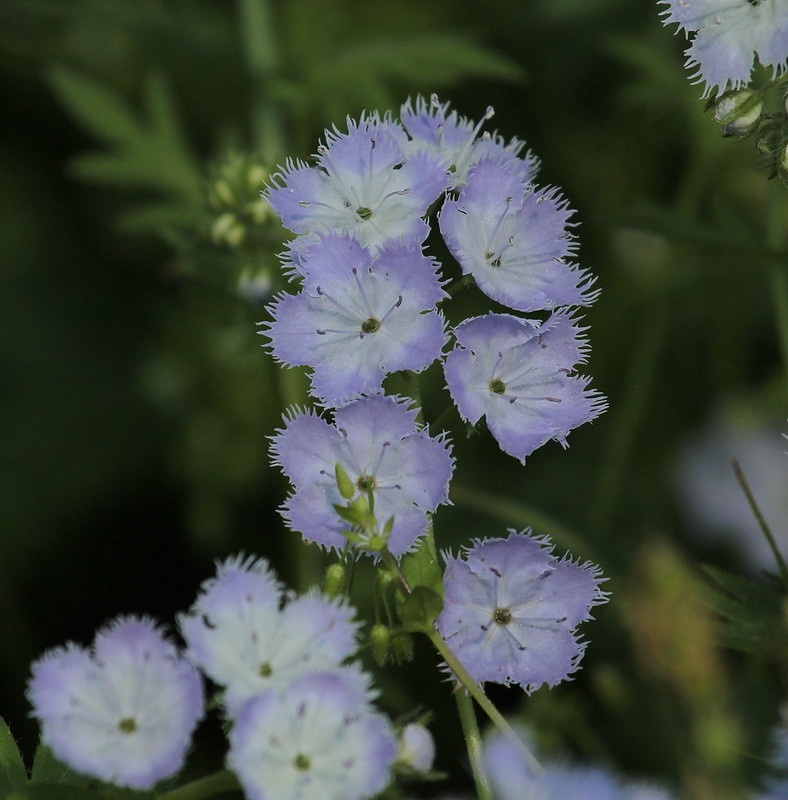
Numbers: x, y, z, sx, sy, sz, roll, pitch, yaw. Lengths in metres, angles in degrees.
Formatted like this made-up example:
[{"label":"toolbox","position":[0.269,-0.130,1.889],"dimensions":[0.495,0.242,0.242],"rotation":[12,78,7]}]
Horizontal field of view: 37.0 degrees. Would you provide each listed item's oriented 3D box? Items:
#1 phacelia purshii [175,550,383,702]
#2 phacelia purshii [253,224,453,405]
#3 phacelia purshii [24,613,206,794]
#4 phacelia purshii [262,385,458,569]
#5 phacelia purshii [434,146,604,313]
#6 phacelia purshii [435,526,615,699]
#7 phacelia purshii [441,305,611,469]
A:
[{"label":"phacelia purshii","position":[-0.196,0.379,1.857],"dimensions":[0.317,0.137,0.317],"rotation":[5,18,-44]},{"label":"phacelia purshii","position":[-0.035,-0.185,2.065],"dimensions":[0.251,0.265,0.120],"rotation":[-13,56,21]},{"label":"phacelia purshii","position":[-0.421,0.495,1.862],"dimensions":[0.302,0.102,0.290],"rotation":[5,29,-18]},{"label":"phacelia purshii","position":[-0.064,0.130,2.019],"dimensions":[0.322,0.221,0.220],"rotation":[3,53,3]},{"label":"phacelia purshii","position":[0.203,-0.279,2.072],"dimensions":[0.254,0.181,0.239],"rotation":[-9,53,-6]},{"label":"phacelia purshii","position":[0.216,0.358,2.106],"dimensions":[0.275,0.294,0.093],"rotation":[13,43,24]},{"label":"phacelia purshii","position":[0.233,-0.035,2.060],"dimensions":[0.304,0.223,0.190],"rotation":[-22,56,-15]}]
